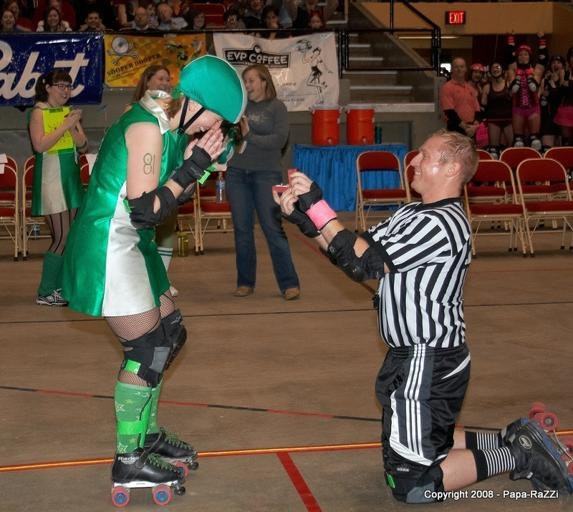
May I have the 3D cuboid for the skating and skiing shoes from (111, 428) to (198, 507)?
[{"bbox_3d":[-0.562,0.888,2.953,0.507,0.195,0.283,1,17,-36],"label":"skating and skiing shoes"}]

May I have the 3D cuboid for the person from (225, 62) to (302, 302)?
[{"bbox_3d":[-0.246,-0.626,6.276,0.734,1.970,0.752,-1,6,-1],"label":"person"}]
